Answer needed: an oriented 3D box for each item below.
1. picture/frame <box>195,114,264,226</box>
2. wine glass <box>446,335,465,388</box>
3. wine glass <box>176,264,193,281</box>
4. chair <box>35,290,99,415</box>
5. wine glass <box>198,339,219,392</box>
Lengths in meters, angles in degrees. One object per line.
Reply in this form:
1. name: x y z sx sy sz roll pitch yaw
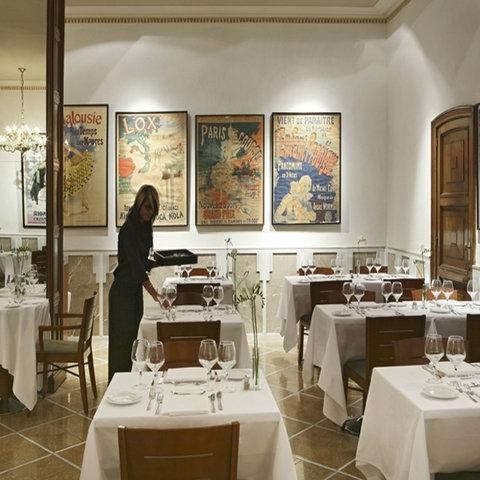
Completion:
1. picture/frame: -0.151 -1.036 7.109 1.049 2.161 0.051 0 -32 -2
2. wine glass: 1.137 0.624 2.505 0.076 0.249 0.085 9 -20 5
3. wine glass: -0.732 0.435 6.182 0.138 0.332 0.173 0 -9 3
4. chair: -1.711 1.082 4.620 0.616 1.158 0.646 1 3 -35
5. wine glass: -0.159 0.620 2.388 0.079 0.275 0.086 -1 13 -9
